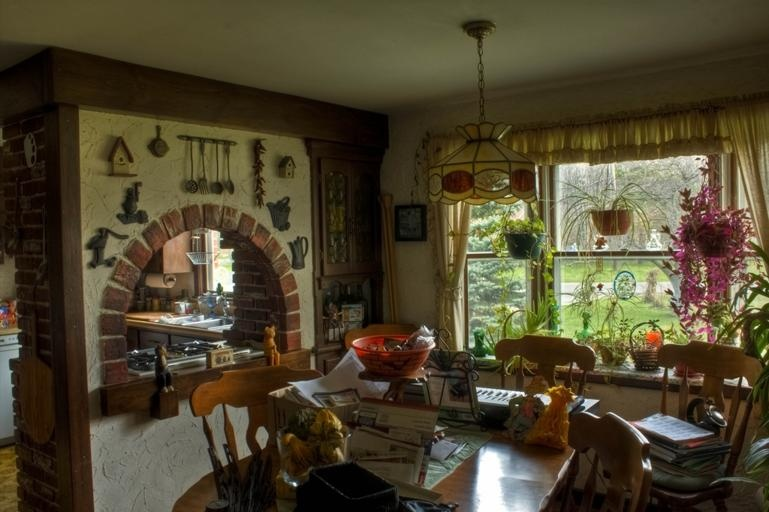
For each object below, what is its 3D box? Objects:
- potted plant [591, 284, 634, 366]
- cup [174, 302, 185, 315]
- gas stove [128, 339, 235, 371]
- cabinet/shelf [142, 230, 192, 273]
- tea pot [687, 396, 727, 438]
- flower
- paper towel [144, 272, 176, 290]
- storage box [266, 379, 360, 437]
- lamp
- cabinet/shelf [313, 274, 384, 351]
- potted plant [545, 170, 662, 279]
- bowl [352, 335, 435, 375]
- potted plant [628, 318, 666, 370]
[{"bbox_3d":[1.782,0.530,4.415,0.284,0.625,0.226,-2,-2,24],"label":"potted plant"},{"bbox_3d":[-2.183,0.555,6.028,0.124,0.119,0.071,1,2,30],"label":"cup"},{"bbox_3d":[-1.594,0.726,4.322,0.727,0.202,0.916,0,-2,-14],"label":"gas stove"},{"bbox_3d":[-1.972,-0.044,5.172,0.220,0.413,0.431,-1,-2,18],"label":"cabinet/shelf"},{"bbox_3d":[1.944,0.971,3.419,0.189,0.211,0.212,17,-4,-26],"label":"tea pot"},{"bbox_3d":[2.281,-0.060,4.012,0.586,1.318,0.512,-2,-2,37],"label":"flower"},{"bbox_3d":[-2.492,0.279,6.329,0.456,0.173,0.234,-3,-3,41],"label":"paper towel"},{"bbox_3d":[-0.332,0.778,2.754,0.471,0.276,0.492,-1,-2,-11],"label":"storage box"},{"bbox_3d":[0.540,-0.819,3.405,0.569,1.105,1.006,-1,-2,2],"label":"lamp"},{"bbox_3d":[-0.307,0.494,5.090,0.685,0.626,0.261,-3,1,-27],"label":"cabinet/shelf"},{"bbox_3d":[1.730,-0.339,4.389,0.637,0.441,0.789,-11,-9,31],"label":"potted plant"},{"bbox_3d":[0.046,0.515,2.925,0.406,0.179,0.362,-1,-2,-1],"label":"bowl"},{"bbox_3d":[2.055,0.670,4.340,0.284,0.357,0.306,1,-8,29],"label":"potted plant"}]
